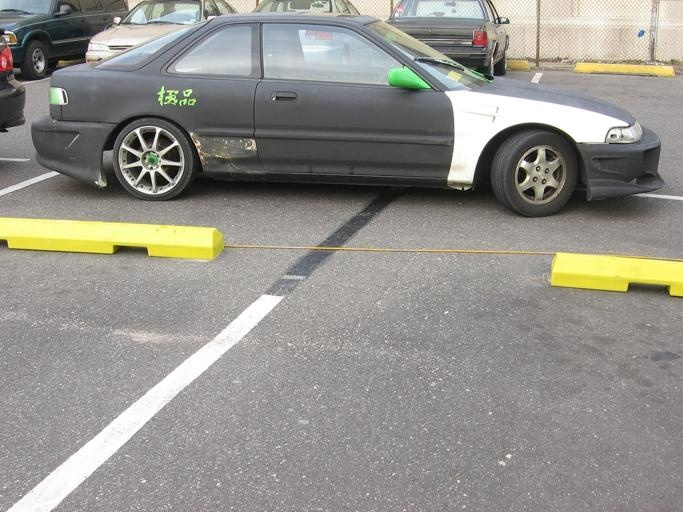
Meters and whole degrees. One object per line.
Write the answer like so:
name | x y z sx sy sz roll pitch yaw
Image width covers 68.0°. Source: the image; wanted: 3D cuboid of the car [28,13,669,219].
car | -0.143 -1.496 5.437 6.160 2.134 0.782 0 22 8
